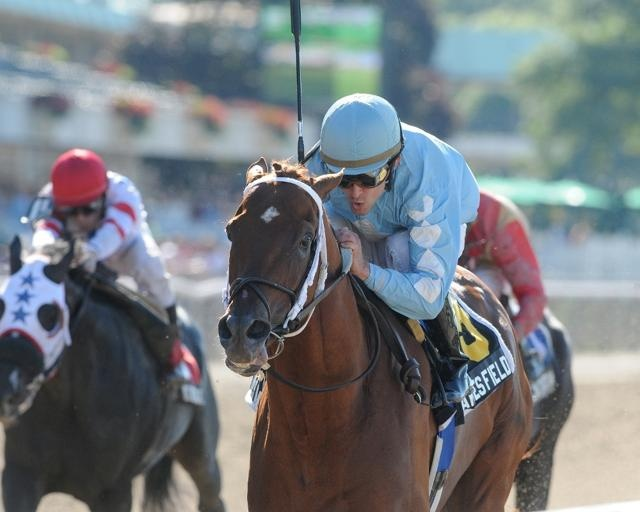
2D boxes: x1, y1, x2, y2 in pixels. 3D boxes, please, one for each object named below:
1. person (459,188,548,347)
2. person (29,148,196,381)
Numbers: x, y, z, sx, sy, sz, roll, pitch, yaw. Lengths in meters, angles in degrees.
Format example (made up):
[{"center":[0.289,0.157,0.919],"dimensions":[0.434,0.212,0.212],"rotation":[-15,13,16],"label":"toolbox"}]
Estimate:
[{"center":[1.683,0.143,12.409],"dimensions":[0.337,1.726,0.859],"rotation":[-10,9,33],"label":"person"},{"center":[-1.871,-0.221,12.263],"dimensions":[0.658,1.418,1.948],"rotation":[1,-3,17],"label":"person"}]
